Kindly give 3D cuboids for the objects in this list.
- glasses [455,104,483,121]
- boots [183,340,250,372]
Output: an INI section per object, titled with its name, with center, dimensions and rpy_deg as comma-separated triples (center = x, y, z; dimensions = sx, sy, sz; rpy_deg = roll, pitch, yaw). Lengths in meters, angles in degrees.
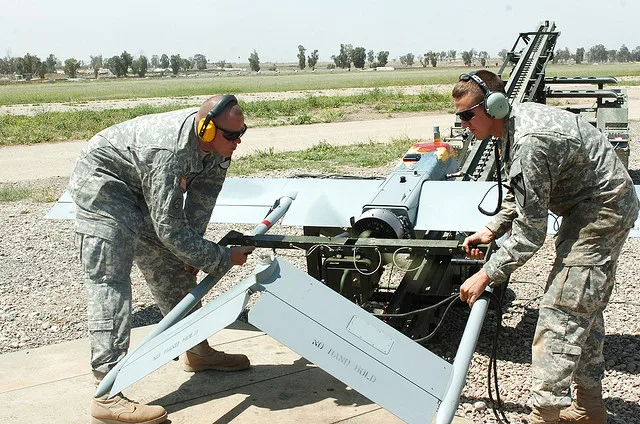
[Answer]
[glasses]
center = 1.215, -0.799, 5.039
dimensions = 0.154, 0.055, 0.150
rpy_deg = -34, 9, -24
[boots]
center = -1.011, 1.371, 6.257
dimensions = 0.685, 0.436, 0.270
rpy_deg = -4, 13, -12
